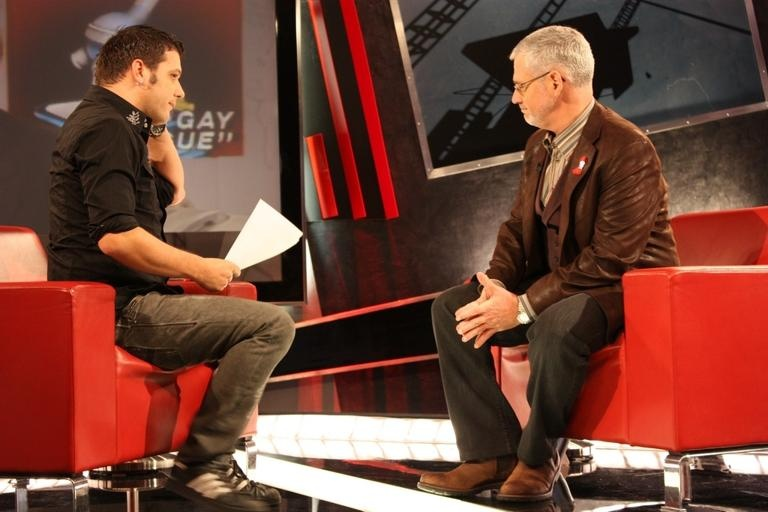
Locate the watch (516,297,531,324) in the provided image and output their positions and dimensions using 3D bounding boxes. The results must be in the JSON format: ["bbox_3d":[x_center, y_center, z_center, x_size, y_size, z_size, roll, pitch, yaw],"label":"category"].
[{"bbox_3d":[0.501,0.203,2.628,0.033,0.084,0.068,-4,-6,-18],"label":"watch"}]

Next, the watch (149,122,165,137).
[{"bbox_3d":[-0.934,-0.518,2.900,0.074,0.060,0.089,3,5,3],"label":"watch"}]
